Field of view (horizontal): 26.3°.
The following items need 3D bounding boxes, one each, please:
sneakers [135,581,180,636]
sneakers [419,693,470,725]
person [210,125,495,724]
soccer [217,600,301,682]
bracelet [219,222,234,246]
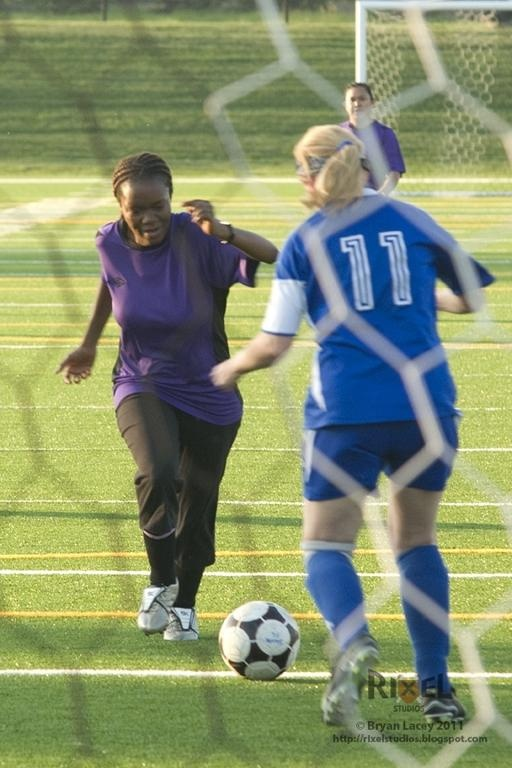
[{"bbox_3d":[-0.292,0.682,3.276,0.118,0.169,0.075,-2,15,-6],"label":"sneakers"},{"bbox_3d":[0.441,0.807,2.710,0.149,0.061,0.111,-6,-9,44],"label":"sneakers"},{"bbox_3d":[0.343,0.109,2.680,0.624,1.451,0.536,-8,17,-25],"label":"person"},{"bbox_3d":[-0.016,0.723,3.125,0.245,0.197,0.206,1,48,-5],"label":"soccer"},{"bbox_3d":[-0.076,-0.428,3.162,0.044,0.072,0.051,4,44,-2],"label":"bracelet"}]
